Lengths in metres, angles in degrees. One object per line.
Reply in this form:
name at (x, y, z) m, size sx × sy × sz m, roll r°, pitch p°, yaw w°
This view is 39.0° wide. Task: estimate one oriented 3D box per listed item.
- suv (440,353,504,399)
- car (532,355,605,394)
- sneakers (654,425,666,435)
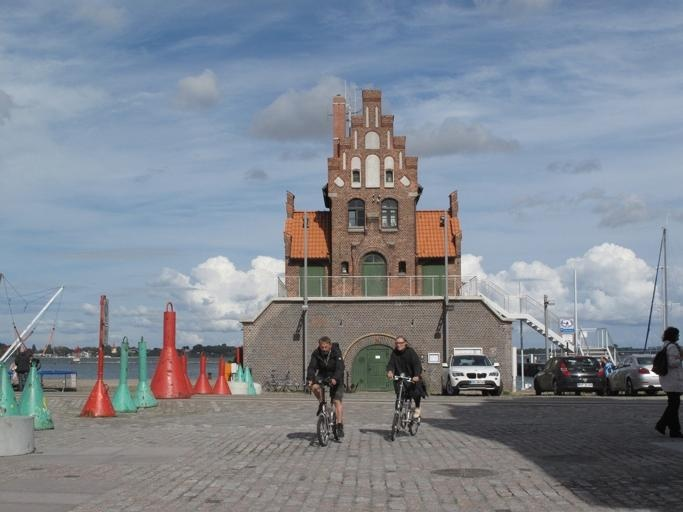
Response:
suv at (5.070, 4.595, 37.406) m, size 2.122 × 1.594 × 2.213 m, roll -1°, pitch -5°, yaw 8°
car at (9.019, 4.772, 38.664) m, size 2.052 × 1.540 × 4.464 m, roll 1°, pitch -6°, yaw -13°
sneakers at (6.481, 3.503, 19.574) m, size 0.190 × 0.219 × 0.571 m, roll -2°, pitch -6°, yaw 18°
